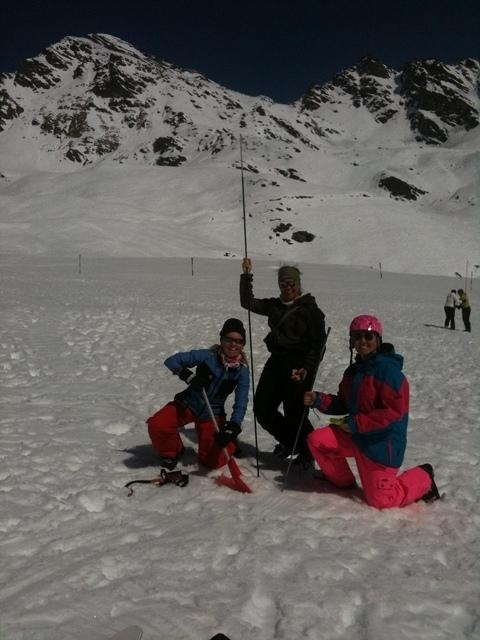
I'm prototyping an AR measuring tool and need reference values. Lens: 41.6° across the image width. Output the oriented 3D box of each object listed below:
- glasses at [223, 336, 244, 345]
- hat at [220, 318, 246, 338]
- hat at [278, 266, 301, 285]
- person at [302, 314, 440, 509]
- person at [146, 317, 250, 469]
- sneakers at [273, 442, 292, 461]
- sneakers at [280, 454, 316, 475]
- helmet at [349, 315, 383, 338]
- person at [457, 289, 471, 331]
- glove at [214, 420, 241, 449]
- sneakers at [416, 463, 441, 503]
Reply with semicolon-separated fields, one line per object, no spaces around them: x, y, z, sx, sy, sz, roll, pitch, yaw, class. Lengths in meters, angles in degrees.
-0.043;0.178;5.470;0.179;0.080;0.060;-2;9;-26;glasses
-0.065;0.073;5.558;0.197;0.176;0.162;2;48;19;hat
0.450;-0.409;5.766;0.192;0.158;0.124;2;14;5;hat
1.016;0.698;4.944;0.909;1.484;0.447;8;10;34;person
-0.373;0.679;5.519;0.888;1.382;0.805;2;8;-1;person
0.410;1.265;6.069;0.125;0.170;0.186;14;-12;-10;sneakers
0.518;1.303;5.743;0.227;0.102;0.276;5;-12;-25;sneakers
0.985;0.029;4.908;0.214;0.128;0.194;7;-19;13;helmet
5.959;-0.225;16.662;0.407;1.041;1.288;6;9;19;person
-0.124;0.990;5.198;0.109;0.253;0.278;21;14;10;glove
1.522;1.309;5.087;0.216;0.256;0.106;-24;-11;9;sneakers
